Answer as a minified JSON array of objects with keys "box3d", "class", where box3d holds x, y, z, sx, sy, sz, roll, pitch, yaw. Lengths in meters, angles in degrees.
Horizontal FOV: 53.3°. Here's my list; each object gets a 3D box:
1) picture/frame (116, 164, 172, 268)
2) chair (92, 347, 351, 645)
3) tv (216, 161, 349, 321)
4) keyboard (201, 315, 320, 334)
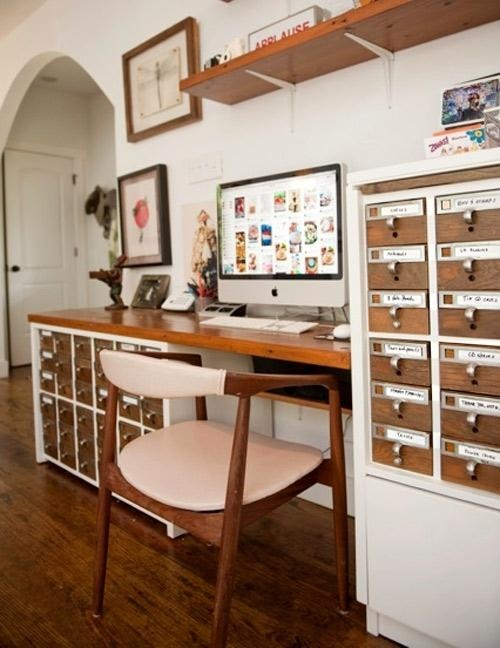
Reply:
[{"box3d":[-0.528,-0.552,2.540,0.065,0.523,0.566,-4,7,-34],"class":"picture/frame"},{"box3d":[-0.090,0.382,1.208,0.526,0.702,0.492,3,8,43],"class":"chair"},{"box3d":[0.168,-0.274,1.725,0.542,0.464,0.296,3,4,40],"class":"tv"},{"box3d":[0.036,0.000,1.568,0.196,0.028,0.420,-7,8,-42],"class":"keyboard"}]
